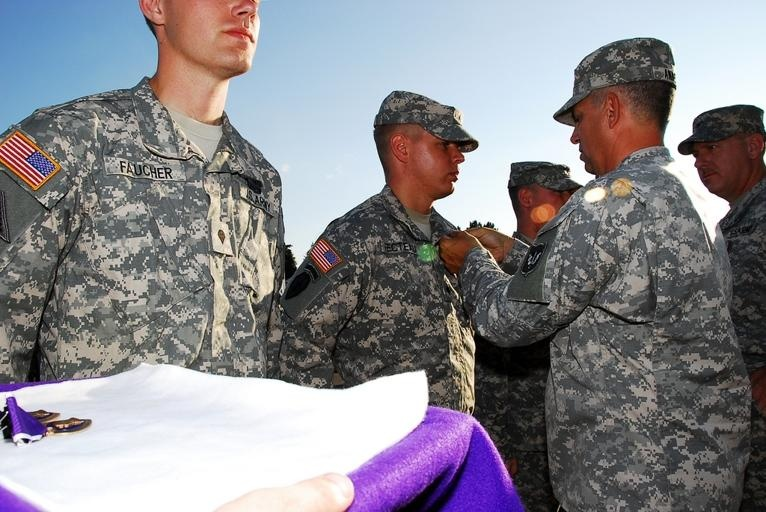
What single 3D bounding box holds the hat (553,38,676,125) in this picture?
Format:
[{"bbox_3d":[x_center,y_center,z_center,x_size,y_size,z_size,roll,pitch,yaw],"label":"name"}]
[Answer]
[{"bbox_3d":[1.127,-0.855,2.763,0.362,0.253,0.494,-6,9,-41],"label":"hat"}]
